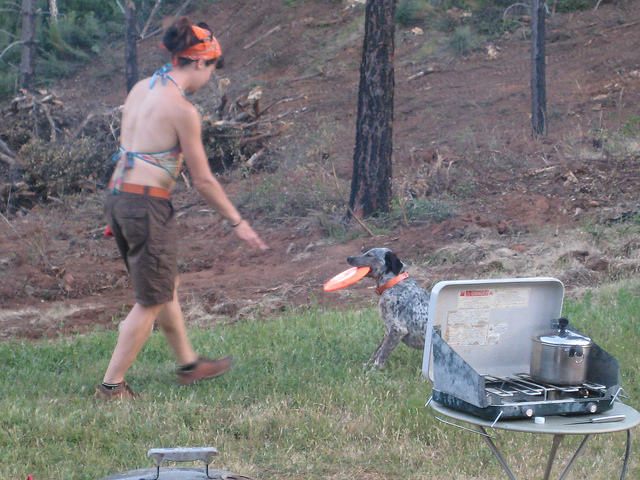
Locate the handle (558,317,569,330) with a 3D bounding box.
[{"bbox_3d":[5.083,1.740,31.357,0.145,0.239,0.109,-1,-10,11],"label":"handle"}]

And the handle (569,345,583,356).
[{"bbox_3d":[5.299,2.297,31.177,0.192,0.236,0.223,-2,-2,9],"label":"handle"}]

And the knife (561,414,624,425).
[{"bbox_3d":[5.742,3.727,31.002,1.083,0.124,0.065,-6,6,-4],"label":"knife"}]
